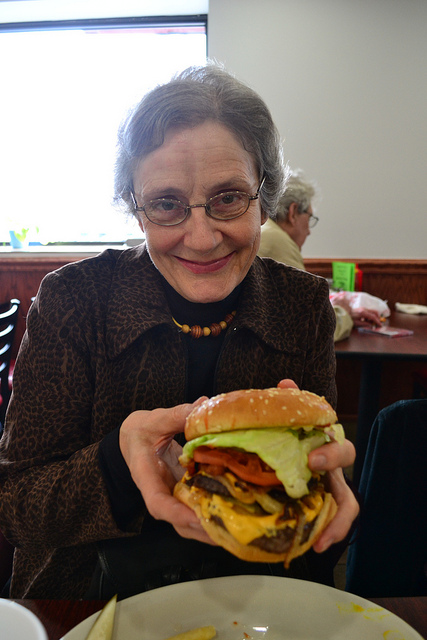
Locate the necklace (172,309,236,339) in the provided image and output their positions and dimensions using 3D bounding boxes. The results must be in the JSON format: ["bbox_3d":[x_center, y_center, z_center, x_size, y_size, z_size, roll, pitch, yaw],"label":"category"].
[{"bbox_3d":[-0.015,0.019,1.399,0.188,0.064,0.054,-5,11,-21],"label":"necklace"}]

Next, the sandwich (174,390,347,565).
[{"bbox_3d":[0.074,0.284,0.988,0.344,0.230,0.343,3,16,16],"label":"sandwich"}]

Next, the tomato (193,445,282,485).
[{"bbox_3d":[0.057,0.262,0.963,0.159,0.067,0.105,13,16,42],"label":"tomato"}]
